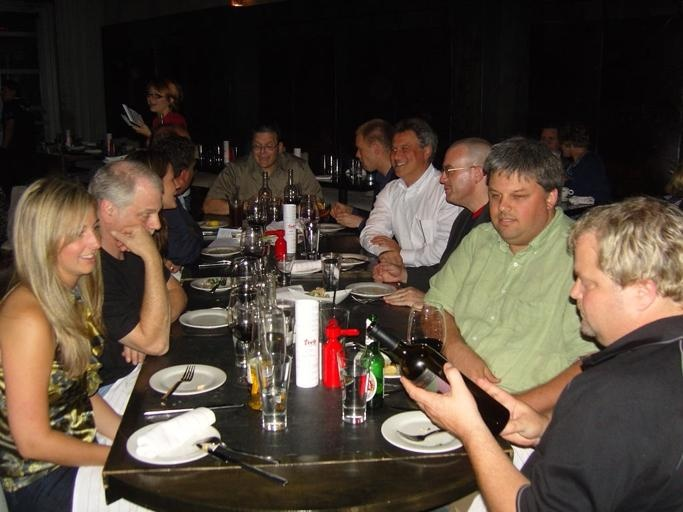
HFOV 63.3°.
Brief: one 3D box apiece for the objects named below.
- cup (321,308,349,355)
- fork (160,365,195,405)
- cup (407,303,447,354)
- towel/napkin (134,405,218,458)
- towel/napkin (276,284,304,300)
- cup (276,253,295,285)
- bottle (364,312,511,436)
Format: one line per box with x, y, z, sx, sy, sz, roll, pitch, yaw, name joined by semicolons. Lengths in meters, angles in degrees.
-0.030;0.261;1.957;0.124;0.183;0.123;0;9;0;cup
-0.528;0.417;1.825;0.028;0.030;0.206;-13;19;17;fork
0.294;0.241;1.923;0.159;0.201;0.151;-1;5;0;cup
-0.456;0.478;1.538;0.090;0.052;0.164;26;30;33;towel/napkin
-0.228;0.166;2.476;0.081;0.016;0.078;-8;11;-24;towel/napkin
-0.309;0.070;2.849;0.139;0.211;0.145;0;0;0;cup
0.298;0.382;1.751;0.520;0.139;0.135;29;38;22;bottle
